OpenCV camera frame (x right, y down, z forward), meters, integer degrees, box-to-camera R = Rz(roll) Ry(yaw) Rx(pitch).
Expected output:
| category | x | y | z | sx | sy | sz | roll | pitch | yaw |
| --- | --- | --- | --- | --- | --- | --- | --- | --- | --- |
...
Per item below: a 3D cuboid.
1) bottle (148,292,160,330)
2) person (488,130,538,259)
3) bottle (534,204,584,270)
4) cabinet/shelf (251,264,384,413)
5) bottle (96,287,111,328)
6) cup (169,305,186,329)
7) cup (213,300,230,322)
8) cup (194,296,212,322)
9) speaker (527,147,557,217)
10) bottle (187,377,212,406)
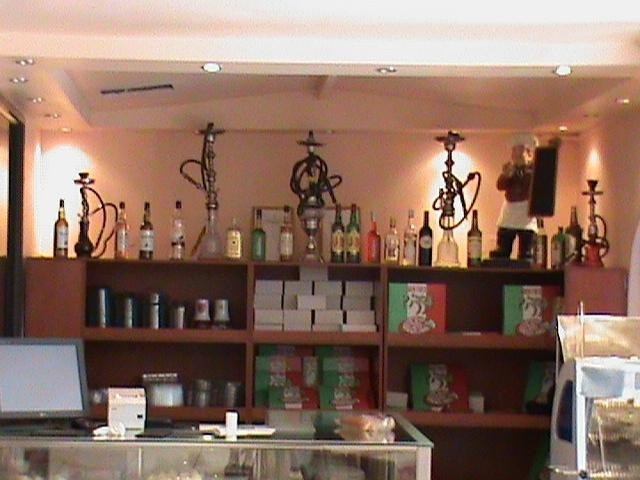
| category | x | y | z | sx | sy | sz | roll | pitch | yaw |
| --- | --- | --- | --- | --- | --- | --- | --- | --- | --- |
| bottle | -1.254 | 0.548 | 5.873 | 0.089 | 0.264 | 0.080 | -1 | -6 | -4 |
| person | 1.517 | -0.298 | 5.975 | 0.403 | 0.917 | 0.333 | -6 | -8 | 36 |
| bottle | 1.871 | 0.002 | 6.092 | 0.361 | 0.499 | 0.412 | -5 | -8 | 24 |
| cabinet/shelf | -0.107 | 0.827 | 6.189 | 1.092 | 1.156 | 0.402 | 3 | -17 | -24 |
| bottle | -1.630 | 0.514 | 5.872 | 0.106 | 0.293 | 0.042 | 1 | -7 | -18 |
| cup | -1.073 | 0.588 | 5.891 | 0.130 | 0.256 | 0.145 | 1 | -1 | -19 |
| cup | -0.747 | 0.555 | 6.019 | 0.130 | 0.174 | 0.146 | 0 | -2 | -2 |
| cup | -0.890 | 0.555 | 6.002 | 0.130 | 0.176 | 0.145 | -1 | -2 | 4 |
| speaker | 1.602 | -0.404 | 5.526 | 0.095 | 0.526 | 0.203 | 6 | -2 | -44 |
| bottle | -0.903 | 1.168 | 5.867 | 0.157 | 0.201 | 0.117 | -3 | -7 | 12 |
